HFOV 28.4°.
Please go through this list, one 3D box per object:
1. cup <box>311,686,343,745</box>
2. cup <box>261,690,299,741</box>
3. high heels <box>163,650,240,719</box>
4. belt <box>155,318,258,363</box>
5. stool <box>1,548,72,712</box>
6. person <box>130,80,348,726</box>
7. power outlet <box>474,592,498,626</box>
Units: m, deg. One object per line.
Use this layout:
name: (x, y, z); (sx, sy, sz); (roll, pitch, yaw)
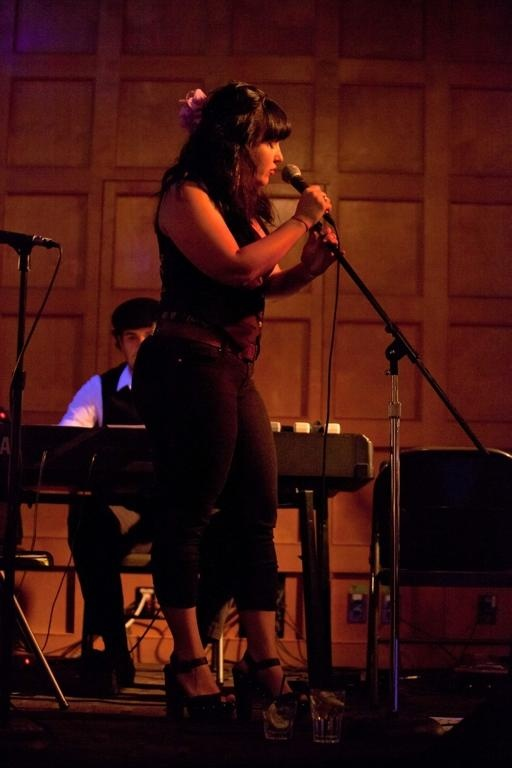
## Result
cup: (0.139, 0.651, 1.997); (0.068, 0.100, 0.070); (-1, -3, 0)
cup: (0.048, 0.652, 2.005); (0.075, 0.096, 0.085); (3, -6, -10)
high heels: (-0.117, 0.631, 2.139); (0.167, 0.191, 0.097); (-2, -4, 3)
belt: (-0.103, -0.093, 2.135); (0.133, 0.059, 0.110); (26, -12, -13)
stool: (-0.573, 0.650, 2.594); (0.194, 0.341, 0.916); (3, -10, -10)
person: (-0.037, 0.021, 2.180); (0.405, 1.366, 0.303); (9, -11, -44)
power outlet: (0.832, 0.811, 3.664); (0.090, 0.184, 0.091); (1, -5, 13)
